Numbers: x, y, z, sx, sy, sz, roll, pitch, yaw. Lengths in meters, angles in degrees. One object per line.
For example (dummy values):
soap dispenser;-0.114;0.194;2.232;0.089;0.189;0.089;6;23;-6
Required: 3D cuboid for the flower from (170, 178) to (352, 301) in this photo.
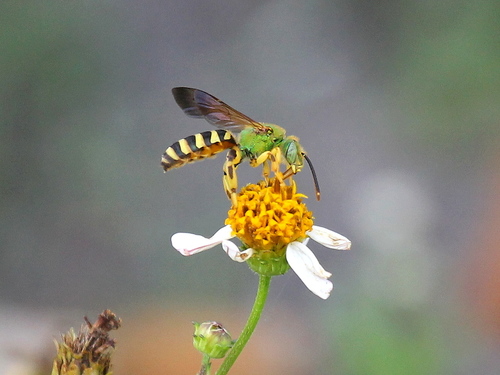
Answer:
flower;0.065;0.234;2.586;0.809;0.495;0.374;-9;-53;-4
